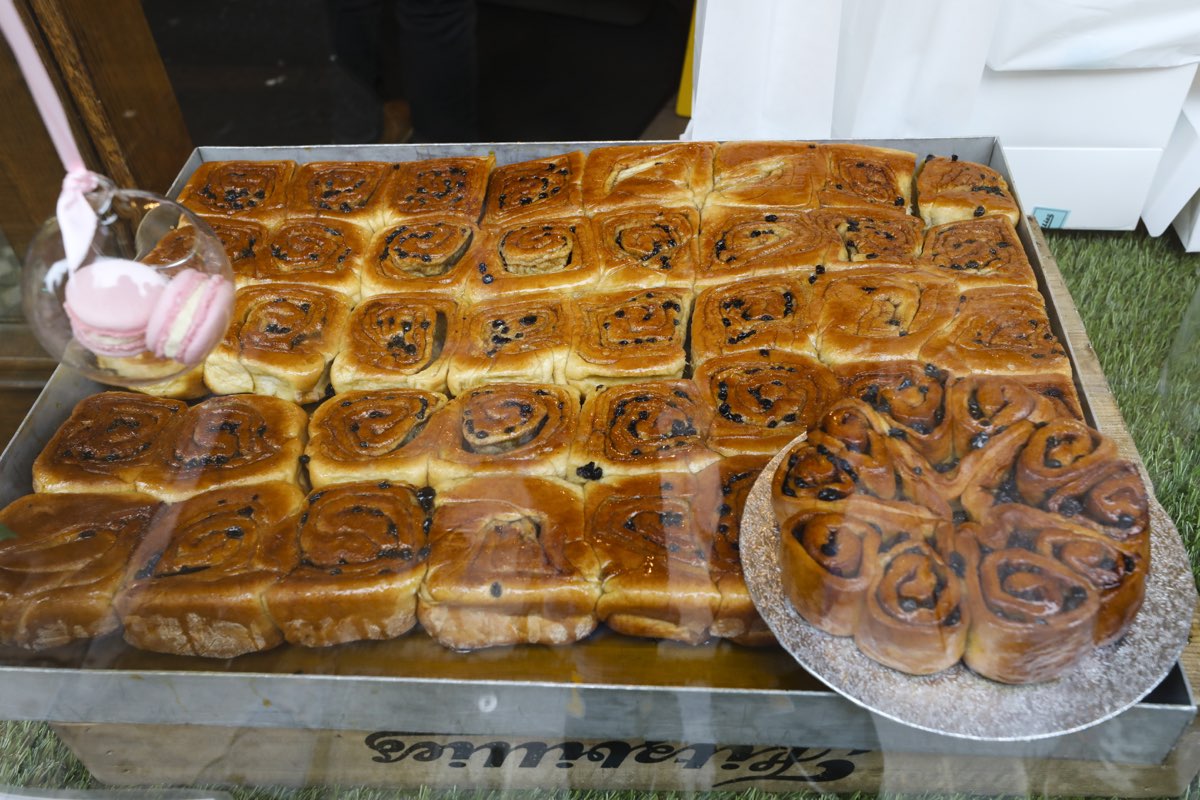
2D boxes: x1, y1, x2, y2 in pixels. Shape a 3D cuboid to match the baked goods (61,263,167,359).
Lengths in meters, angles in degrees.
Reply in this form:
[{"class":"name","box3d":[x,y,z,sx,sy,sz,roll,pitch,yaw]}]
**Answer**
[{"class":"baked goods","box3d":[-1.151,-0.227,2.315,0.231,0.138,0.226,27,48,3]}]
